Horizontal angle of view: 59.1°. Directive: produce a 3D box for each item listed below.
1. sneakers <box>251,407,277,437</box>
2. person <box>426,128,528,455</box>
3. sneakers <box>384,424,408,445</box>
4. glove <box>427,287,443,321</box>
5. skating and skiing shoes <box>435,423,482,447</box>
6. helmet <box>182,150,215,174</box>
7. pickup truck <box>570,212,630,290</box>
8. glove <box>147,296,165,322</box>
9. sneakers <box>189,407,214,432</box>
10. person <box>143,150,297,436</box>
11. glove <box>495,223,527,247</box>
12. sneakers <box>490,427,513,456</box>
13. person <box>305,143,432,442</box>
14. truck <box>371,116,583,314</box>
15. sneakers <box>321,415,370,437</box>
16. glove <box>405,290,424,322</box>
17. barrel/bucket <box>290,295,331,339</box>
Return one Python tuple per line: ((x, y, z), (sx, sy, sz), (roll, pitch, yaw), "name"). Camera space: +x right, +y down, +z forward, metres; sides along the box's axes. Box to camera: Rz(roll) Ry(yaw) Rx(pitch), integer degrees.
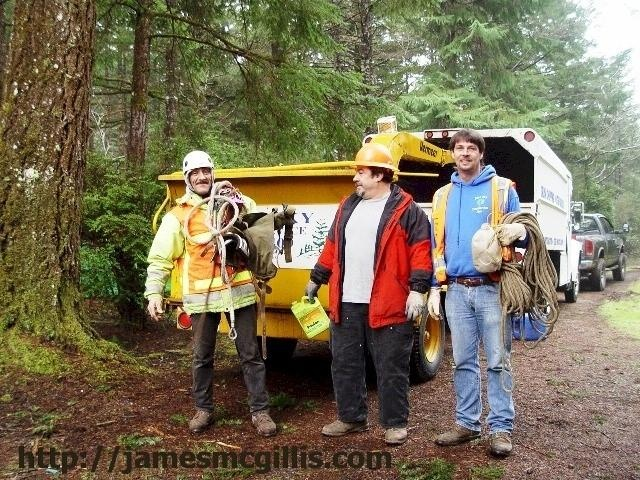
((-0.510, 1.693, 5.234), (0.131, 0.120, 0.273), (-3, 2, -32), "sneakers")
((1.370, 0.419, 4.966), (0.821, 2.792, 0.545), (1, 3, 21), "person")
((0.674, 1.726, 4.998), (0.098, 0.110, 0.234), (-4, -3, -36), "sneakers")
((0.998, 0.571, 4.925), (0.087, 0.308, 0.219), (0, 24, 13), "glove")
((1.202, 1.737, 4.986), (0.429, 0.215, 0.159), (1, -4, -9), "skating and skiing shoes")
((-1.179, -0.758, 5.420), (0.197, 0.252, 0.263), (-8, -17, -23), "helmet")
((7.262, 0.438, 15.231), (1.771, 1.659, 3.274), (-2, 10, 37), "pickup truck")
((-1.509, 0.624, 5.212), (0.129, 0.251, 0.257), (-1, 3, -15), "glove")
((-1.098, 1.663, 5.210), (0.207, 0.180, 0.156), (-1, 3, -11), "sneakers")
((-0.997, 0.479, 5.338), (1.200, 2.633, 0.530), (0, 3, -1), "person")
((1.606, -0.049, 4.760), (0.214, 0.178, 0.104), (-6, 4, 5), "glove")
((1.535, 1.723, 4.774), (0.174, 0.177, 0.180), (0, 3, 12), "sneakers")
((0.482, 0.466, 5.134), (1.048, 2.693, 0.349), (1, 3, 23), "person")
((2.600, -0.299, 9.353), (2.685, 2.789, 4.565), (0, 5, 28), "truck")
((0.228, 1.746, 5.321), (0.402, 0.206, 0.156), (3, -3, -10), "sneakers")
((0.812, 0.574, 4.862), (0.158, 0.236, 0.058), (8, -5, 39), "glove")
((-0.097, 0.717, 5.427), (0.262, 0.385, 0.129), (-26, 14, 0), "barrel/bucket")
